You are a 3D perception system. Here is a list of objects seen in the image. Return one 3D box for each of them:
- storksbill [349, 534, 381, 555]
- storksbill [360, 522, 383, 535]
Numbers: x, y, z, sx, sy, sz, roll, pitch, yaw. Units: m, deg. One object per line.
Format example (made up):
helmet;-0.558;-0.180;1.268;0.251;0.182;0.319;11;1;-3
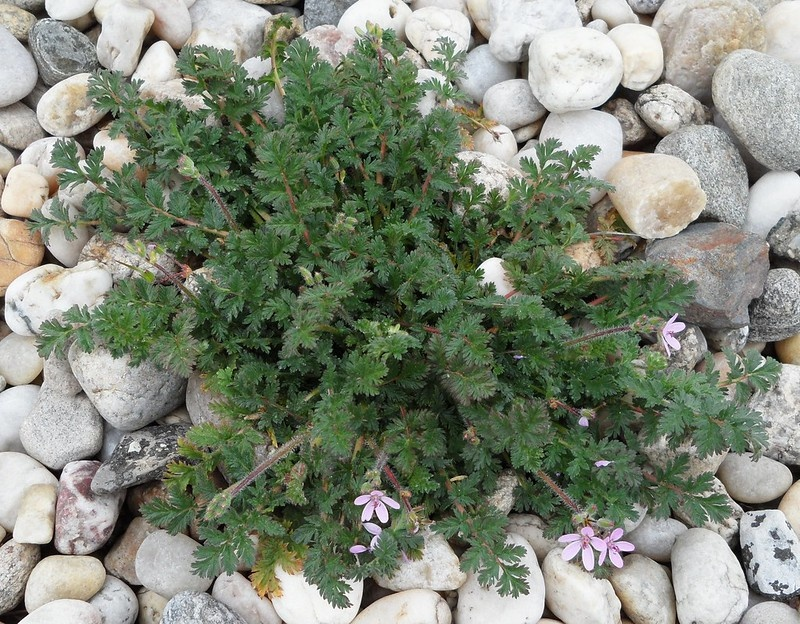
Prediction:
storksbill;-0.187;1.215;4.237;0.043;0.245;0.084;-24;82;-31
storksbill;-0.166;1.114;4.176;0.108;0.074;0.032;-33;45;35
